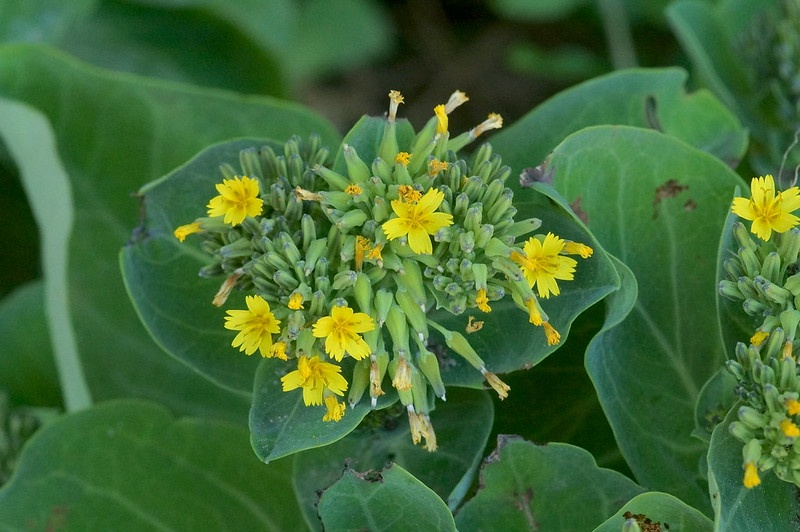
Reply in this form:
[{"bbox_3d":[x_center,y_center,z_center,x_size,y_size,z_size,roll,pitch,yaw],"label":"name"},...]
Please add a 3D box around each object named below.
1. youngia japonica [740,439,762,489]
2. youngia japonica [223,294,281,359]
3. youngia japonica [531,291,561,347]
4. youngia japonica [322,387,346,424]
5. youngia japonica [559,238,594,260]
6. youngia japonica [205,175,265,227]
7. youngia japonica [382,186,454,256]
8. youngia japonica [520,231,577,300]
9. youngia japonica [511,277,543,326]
[{"bbox_3d":[0.933,0.515,1.899,0.052,0.144,0.043,-3,-31,14],"label":"youngia japonica"},{"bbox_3d":[-0.402,0.167,2.044,0.168,0.165,0.058,10,0,2],"label":"youngia japonica"},{"bbox_3d":[0.420,0.143,2.053,0.053,0.155,0.056,-21,-21,-6],"label":"youngia japonica"},{"bbox_3d":[-0.185,0.387,2.000,0.064,0.087,0.047,-18,-7,-36],"label":"youngia japonica"},{"bbox_3d":[0.502,-0.044,2.051,0.081,0.046,0.029,21,34,-14],"label":"youngia japonica"},{"bbox_3d":[-0.455,-0.217,2.064,0.128,0.050,0.130,-10,-9,-35],"label":"youngia japonica"},{"bbox_3d":[0.049,-0.119,1.985,0.182,0.182,0.052,-43,-13,-5],"label":"youngia japonica"},{"bbox_3d":[0.415,-0.008,2.003,0.172,0.176,0.087,1,2,-13],"label":"youngia japonica"},{"bbox_3d":[0.354,0.088,2.029,0.055,0.057,0.161,-31,44,-2],"label":"youngia japonica"}]
